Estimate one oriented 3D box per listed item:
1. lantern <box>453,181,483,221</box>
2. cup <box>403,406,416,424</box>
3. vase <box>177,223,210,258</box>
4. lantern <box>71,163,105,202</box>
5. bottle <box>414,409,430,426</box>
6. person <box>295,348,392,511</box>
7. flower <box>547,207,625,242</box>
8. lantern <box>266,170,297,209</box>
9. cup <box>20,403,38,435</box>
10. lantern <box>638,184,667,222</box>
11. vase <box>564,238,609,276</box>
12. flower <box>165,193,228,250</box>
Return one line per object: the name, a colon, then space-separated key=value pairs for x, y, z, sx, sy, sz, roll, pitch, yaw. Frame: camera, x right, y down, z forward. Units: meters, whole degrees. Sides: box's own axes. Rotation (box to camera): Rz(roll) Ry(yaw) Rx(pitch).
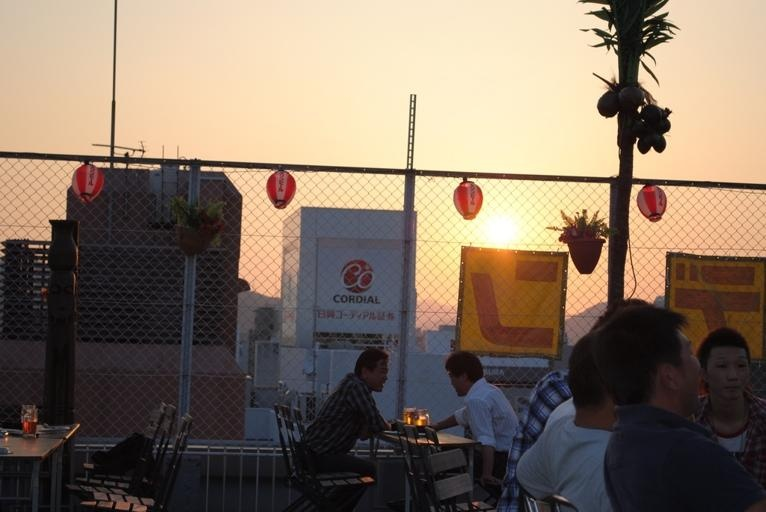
lantern: x=0.972 y=-0.629 z=14.670 sx=0.394 sy=0.510 sz=0.421 roll=-1 pitch=-5 yaw=-5
cup: x=0.309 y=1.849 z=14.671 sx=0.154 sy=0.187 sz=0.164 roll=1 pitch=-3 yaw=0
vase: x=-2.181 y=-0.187 z=14.568 sx=0.318 sy=0.283 sz=0.344 roll=2 pitch=-6 yaw=-2
lantern: x=-3.421 y=-0.845 z=14.655 sx=0.355 sy=0.461 sz=0.203 roll=2 pitch=-3 yaw=-18
bottle: x=0.481 y=1.879 z=14.676 sx=0.179 sy=0.174 sz=0.161 roll=0 pitch=0 yaw=-43
person: x=-0.418 y=2.013 z=14.701 sx=1.013 sy=1.890 sz=0.680 roll=2 pitch=-3 yaw=-8
flower: x=2.286 y=-0.344 z=14.403 sx=0.685 sy=0.355 sz=0.698 roll=1 pitch=-3 yaw=-39
lantern: x=-1.163 y=-0.766 z=14.570 sx=0.354 sy=0.456 sz=0.208 roll=1 pitch=-3 yaw=-6
cup: x=-3.922 y=1.825 z=14.051 sx=0.163 sy=0.329 sz=0.207 roll=2 pitch=-3 yaw=-10
lantern: x=3.138 y=-0.616 z=14.782 sx=0.346 sy=0.433 sz=0.294 roll=0 pitch=-3 yaw=11
vase: x=2.348 y=0.027 z=14.638 sx=0.406 sy=0.319 sz=0.392 roll=1 pitch=-4 yaw=1
flower: x=-2.177 y=-0.357 z=14.751 sx=0.635 sy=0.698 sz=0.569 roll=2 pitch=-9 yaw=-21
